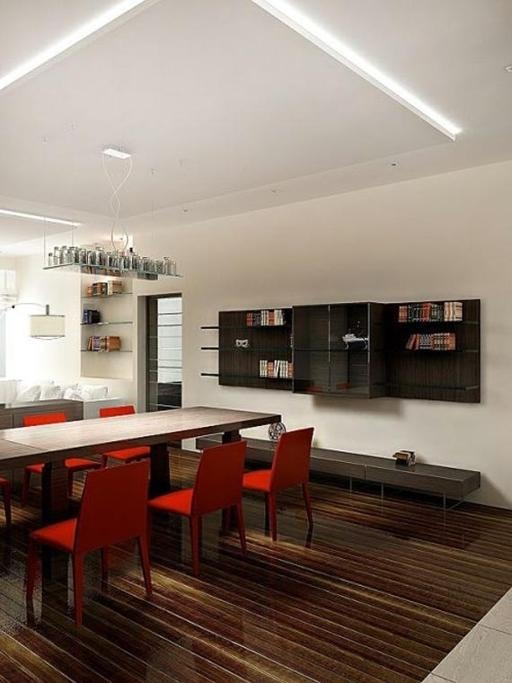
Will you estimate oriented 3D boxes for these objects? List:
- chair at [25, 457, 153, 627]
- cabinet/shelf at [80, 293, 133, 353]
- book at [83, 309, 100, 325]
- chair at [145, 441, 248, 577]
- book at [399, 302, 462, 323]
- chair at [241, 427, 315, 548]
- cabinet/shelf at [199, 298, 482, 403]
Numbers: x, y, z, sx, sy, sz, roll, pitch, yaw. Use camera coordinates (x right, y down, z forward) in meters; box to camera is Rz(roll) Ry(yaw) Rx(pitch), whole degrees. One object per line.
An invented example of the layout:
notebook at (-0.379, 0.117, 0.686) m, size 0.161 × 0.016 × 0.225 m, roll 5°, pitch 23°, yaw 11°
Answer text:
chair at (-0.889, 1.018, 2.826) m, size 0.666 × 0.767 × 0.786 m, roll 2°, pitch -3°, yaw -23°
cabinet/shelf at (-2.531, -0.305, 8.800) m, size 1.066 × 1.008 × 0.320 m, roll 0°, pitch 0°, yaw 37°
book at (-2.851, -0.414, 8.927) m, size 0.145 × 0.260 × 0.283 m, roll -2°, pitch -2°, yaw 41°
chair at (-0.363, 1.030, 3.349) m, size 0.457 × 0.762 × 0.479 m, roll -1°, pitch -3°, yaw 34°
book at (1.597, -0.261, 4.766) m, size 0.555 × 0.187 × 0.118 m, roll -2°, pitch -4°, yaw 44°
chair at (0.122, 1.063, 3.982) m, size 0.536 × 0.784 × 0.566 m, roll 1°, pitch -2°, yaw -35°
cabinet/shelf at (0.663, 0.123, 5.447) m, size 3.017 × 0.964 × 0.411 m, roll 0°, pitch 4°, yaw 37°
